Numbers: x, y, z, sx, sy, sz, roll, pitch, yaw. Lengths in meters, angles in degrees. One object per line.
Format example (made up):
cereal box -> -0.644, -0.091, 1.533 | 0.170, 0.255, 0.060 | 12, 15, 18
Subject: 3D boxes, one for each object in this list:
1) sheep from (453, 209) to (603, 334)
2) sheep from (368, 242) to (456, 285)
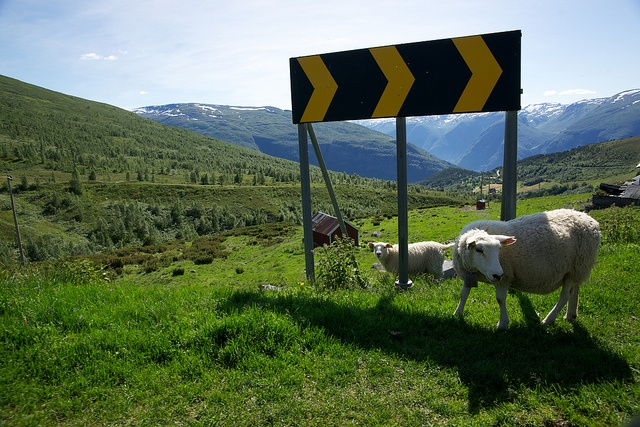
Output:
sheep -> 5.199, 1.505, 10.873 | 3.845, 3.041, 2.101 | 0, 2, -6
sheep -> 3.395, 1.828, 17.585 | 3.236, 1.580, 2.585 | -10, 13, -38
